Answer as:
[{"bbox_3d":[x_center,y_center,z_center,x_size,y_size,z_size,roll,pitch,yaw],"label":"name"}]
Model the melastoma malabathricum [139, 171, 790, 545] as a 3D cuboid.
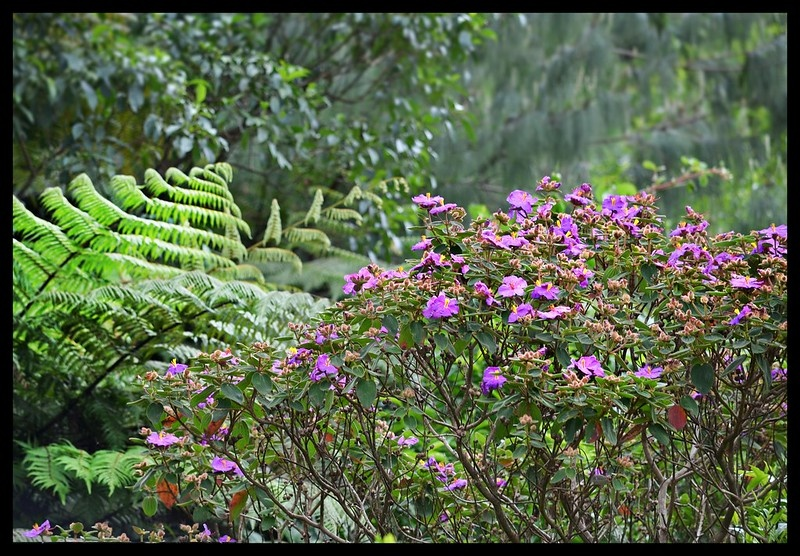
[{"bbox_3d":[0.455,0.492,6.330,2.150,1.346,1.927,4,-7,3],"label":"melastoma malabathricum"}]
